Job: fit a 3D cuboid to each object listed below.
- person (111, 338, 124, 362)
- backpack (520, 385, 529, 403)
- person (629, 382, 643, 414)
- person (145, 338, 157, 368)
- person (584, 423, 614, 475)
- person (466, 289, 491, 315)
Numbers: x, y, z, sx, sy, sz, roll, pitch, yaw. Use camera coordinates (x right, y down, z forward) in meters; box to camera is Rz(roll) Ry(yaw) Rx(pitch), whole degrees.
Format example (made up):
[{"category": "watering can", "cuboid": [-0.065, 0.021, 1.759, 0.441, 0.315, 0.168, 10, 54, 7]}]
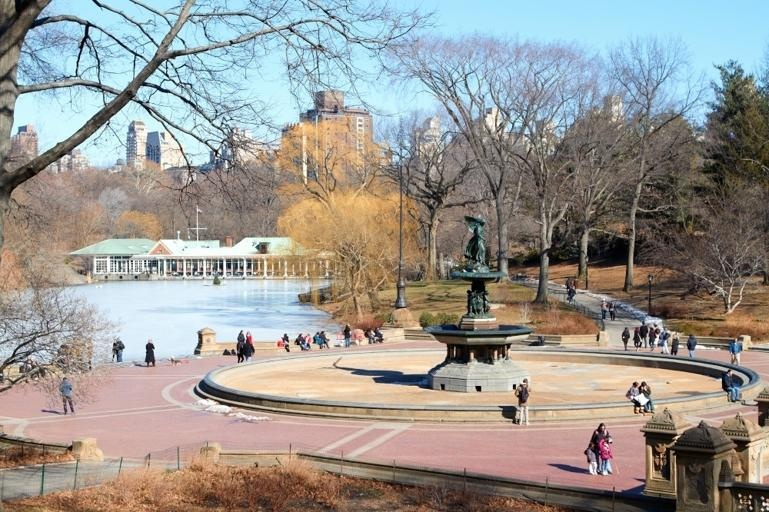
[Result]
[{"category": "person", "cuboid": [-15.871, 5.480, 67.031, 0.599, 1.522, 3.542, 2, 1, -13]}, {"category": "backpack", "cuboid": [6.230, 6.111, 49.905, 0.320, 0.807, 0.418, 3, 2, 13]}, {"category": "person", "cuboid": [11.273, 6.358, 50.675, 0.741, 1.326, 0.847, 2, 2, -11]}, {"category": "person", "cuboid": [-13.266, 5.477, 63.993, 0.567, 1.580, 1.902, 2, 1, -12]}, {"category": "person", "cuboid": [8.564, 7.581, 44.628, 1.114, 1.925, 1.219, 3, 2, 12]}, {"category": "person", "cuboid": [4.657, 2.265, 55.641, 1.046, 1.281, 0.709, 3, 2, 1]}]
